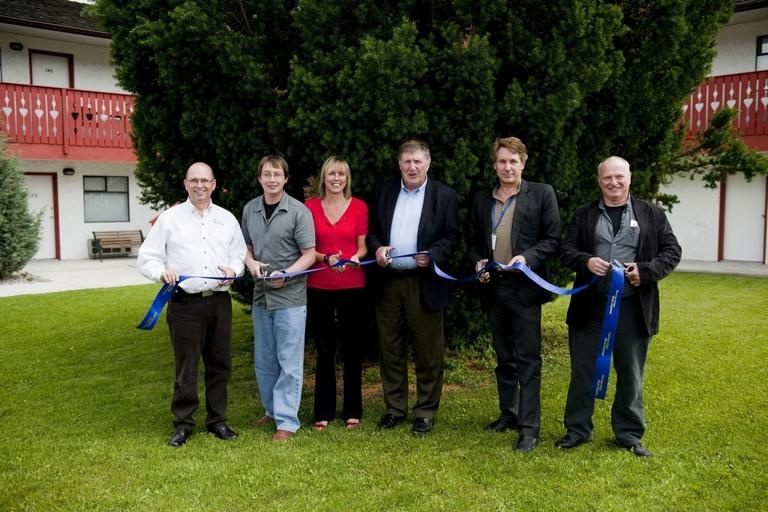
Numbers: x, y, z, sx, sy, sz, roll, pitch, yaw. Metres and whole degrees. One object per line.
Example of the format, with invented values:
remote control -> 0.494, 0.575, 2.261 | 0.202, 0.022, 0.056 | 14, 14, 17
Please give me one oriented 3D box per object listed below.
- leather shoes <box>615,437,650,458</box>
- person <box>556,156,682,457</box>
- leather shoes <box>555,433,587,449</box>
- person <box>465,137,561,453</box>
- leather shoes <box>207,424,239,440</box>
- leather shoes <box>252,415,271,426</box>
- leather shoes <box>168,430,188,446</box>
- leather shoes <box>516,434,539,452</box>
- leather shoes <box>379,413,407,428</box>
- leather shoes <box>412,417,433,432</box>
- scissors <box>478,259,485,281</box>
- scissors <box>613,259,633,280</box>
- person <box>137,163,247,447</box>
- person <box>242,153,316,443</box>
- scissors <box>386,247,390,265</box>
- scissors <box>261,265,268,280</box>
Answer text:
leather shoes -> 2.642, 2.037, 7.419 | 0.364, 0.136, 0.135 | 9, 25, 34
person -> 2.458, 0.513, 7.407 | 1.148, 3.067, 0.832 | 2, 12, 14
leather shoes -> 2.022, 2.005, 7.541 | 0.396, 0.168, 0.136 | 1, 2, -8
person -> 1.490, 0.361, 7.721 | 0.836, 3.285, 1.092 | -8, 14, -32
leather shoes -> -1.826, 1.963, 7.834 | 0.367, 0.154, 0.150 | 1, 6, 32
leather shoes -> -1.433, 1.945, 8.134 | 0.227, 0.164, 0.090 | 3, -10, 2
leather shoes -> -2.290, 2.003, 7.664 | 0.183, 0.141, 0.223 | 1, 13, 7
leather shoes -> 1.531, 2.025, 7.487 | 0.251, 0.147, 0.171 | 1, 13, 9
leather shoes -> 0.091, 1.927, 8.055 | 0.119, 0.144, 0.333 | -6, -12, 41
leather shoes -> 0.440, 1.918, 7.881 | 0.255, 0.152, 0.192 | -2, 12, -3
scissors -> 1.063, 0.154, 7.640 | 0.068, 0.188, 0.137 | 2, 19, -1
scissors -> 2.480, 0.128, 7.247 | 0.183, 0.187, 0.067 | -1, -28, -31
person -> -2.069, 0.520, 7.683 | 1.101, 3.014, 0.609 | -6, 13, -21
person -> -1.260, 0.456, 7.788 | 0.782, 3.081, 0.798 | 3, 12, 16
scissors -> 0.043, 0.001, 7.825 | 0.038, 0.138, 0.129 | -4, 8, 11
scissors -> -1.358, 0.184, 7.793 | 0.090, 0.126, 0.122 | 1, -8, -4
